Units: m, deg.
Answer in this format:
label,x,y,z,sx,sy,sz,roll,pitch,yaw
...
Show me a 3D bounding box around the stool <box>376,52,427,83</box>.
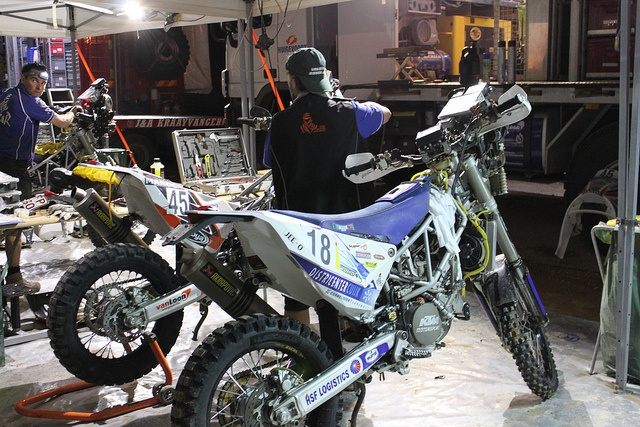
label,x,y,z,sx,sy,sz,roll,pitch,yaw
stool,1.603,-2.748,9.262,0.961,0.639,0.810,11,19,31
